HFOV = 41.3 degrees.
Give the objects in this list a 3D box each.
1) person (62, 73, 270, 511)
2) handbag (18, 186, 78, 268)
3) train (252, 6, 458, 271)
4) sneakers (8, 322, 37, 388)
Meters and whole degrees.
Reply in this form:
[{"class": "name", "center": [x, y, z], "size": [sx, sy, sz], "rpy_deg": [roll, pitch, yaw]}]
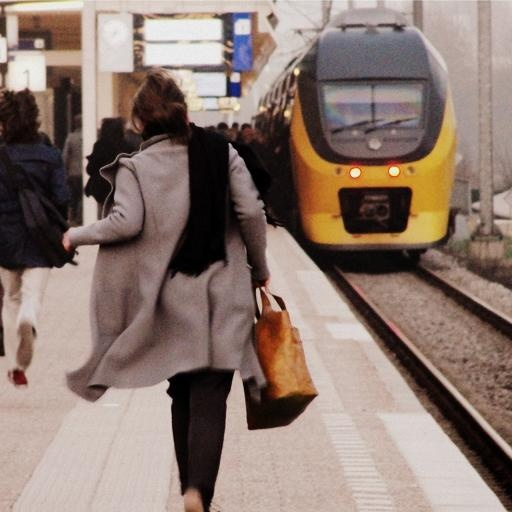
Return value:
[{"class": "person", "center": [-0.286, -0.072, 2.170], "size": [0.661, 1.024, 0.396], "rpy_deg": [2, 9, 1]}, {"class": "handbag", "center": [-1.103, -0.153, 3.534], "size": [0.150, 0.365, 0.269], "rpy_deg": [-34, 29, -14]}, {"class": "train", "center": [0.657, -0.816, 4.351], "size": [0.669, 1.178, 2.508], "rpy_deg": [0, 9, 1]}, {"class": "sneakers", "center": [-1.231, 0.510, 3.552], "size": [0.107, 0.344, 0.099], "rpy_deg": [3, -6, -11]}]
